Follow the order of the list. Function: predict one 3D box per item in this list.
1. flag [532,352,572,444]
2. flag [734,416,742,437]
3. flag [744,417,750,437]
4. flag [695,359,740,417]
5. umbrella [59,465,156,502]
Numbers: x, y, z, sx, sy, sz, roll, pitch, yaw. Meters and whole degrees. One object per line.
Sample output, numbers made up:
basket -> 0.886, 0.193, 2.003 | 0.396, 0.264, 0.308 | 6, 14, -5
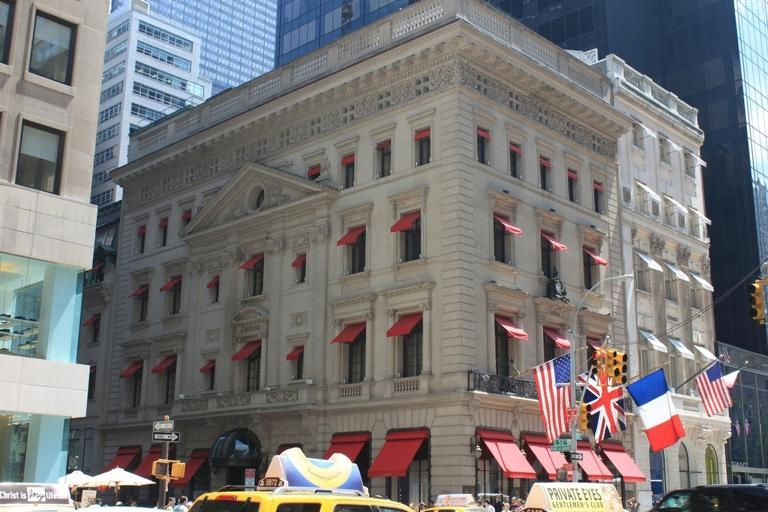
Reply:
flag -> 9.613, 7.759, 57.126 | 1.438, 4.775, 2.118 | -5, -12, 18
flag -> 27.299, 13.117, 78.595 | 0.429, 1.122, 1.375 | -11, -25, 21
flag -> 28.455, 13.360, 79.814 | 0.362, 1.154, 1.184 | -12, -25, 24
flag -> 19.490, 7.759, 59.750 | 1.599, 4.010, 2.744 | -10, -14, 39
umbrella -> -15.207, 12.503, 57.005 | 5.403, 2.317, 5.101 | 0, -8, 13
